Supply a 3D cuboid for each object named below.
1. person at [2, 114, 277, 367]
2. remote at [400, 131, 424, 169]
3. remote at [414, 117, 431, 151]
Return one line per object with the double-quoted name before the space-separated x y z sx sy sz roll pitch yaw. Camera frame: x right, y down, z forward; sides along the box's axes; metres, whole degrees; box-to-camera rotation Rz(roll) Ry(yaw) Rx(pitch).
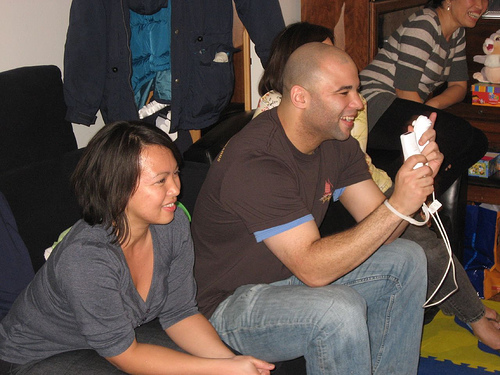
"person" -0.346 0.098 1.504 0.953 0.963 0.566 4 18 11
"remote" 0.489 -0.111 1.234 0.057 0.109 0.025 -11 4 -16
"remote" 0.535 -0.164 1.274 0.050 0.103 0.024 10 1 26
